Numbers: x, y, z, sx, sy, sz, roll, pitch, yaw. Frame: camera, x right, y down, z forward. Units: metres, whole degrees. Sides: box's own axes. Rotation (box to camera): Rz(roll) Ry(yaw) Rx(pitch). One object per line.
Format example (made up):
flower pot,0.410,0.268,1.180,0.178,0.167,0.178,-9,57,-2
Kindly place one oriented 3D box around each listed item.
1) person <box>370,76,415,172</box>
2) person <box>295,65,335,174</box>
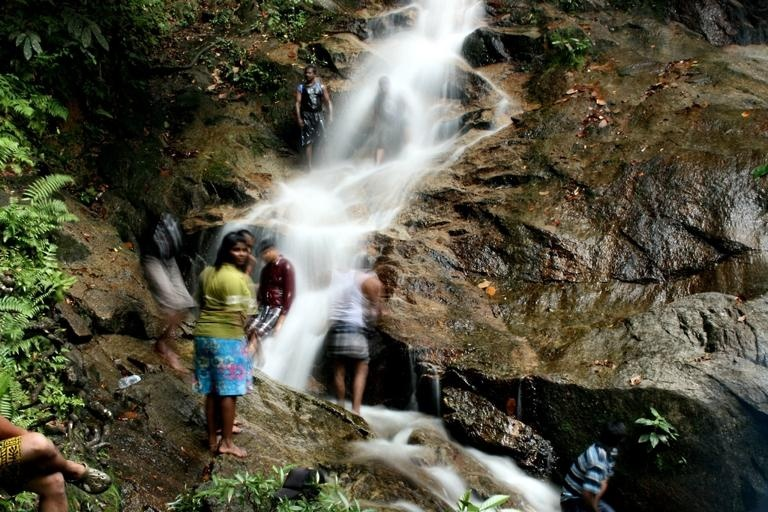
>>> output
person,0.140,-3.077,18.757,0.860,2.186,0.574,0,-16,8
person,-1.553,-3.025,18.089,0.740,1.717,1.565,2,-16,-1
